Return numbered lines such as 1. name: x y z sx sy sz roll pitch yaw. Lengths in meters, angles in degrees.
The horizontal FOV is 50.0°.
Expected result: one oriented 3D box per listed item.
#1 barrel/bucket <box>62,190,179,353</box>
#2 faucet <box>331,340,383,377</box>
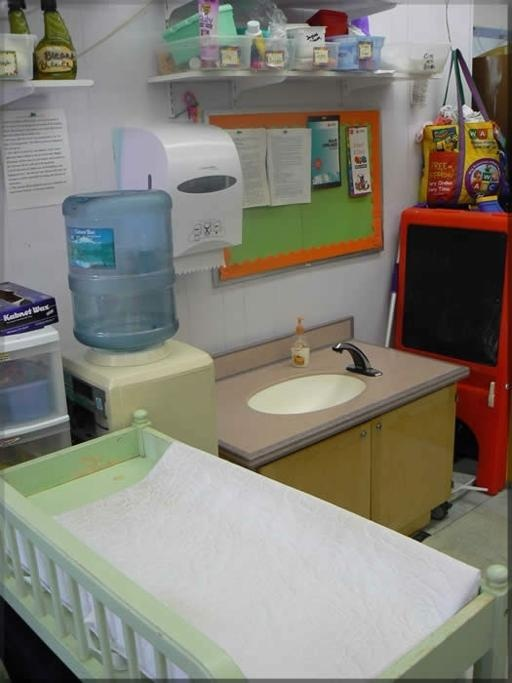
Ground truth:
1. barrel/bucket: -0.337 -0.186 1.445 0.317 0.399 0.262 -11 18 -19
2. faucet: 0.422 0.064 2.282 0.192 0.140 0.118 -2 17 8
